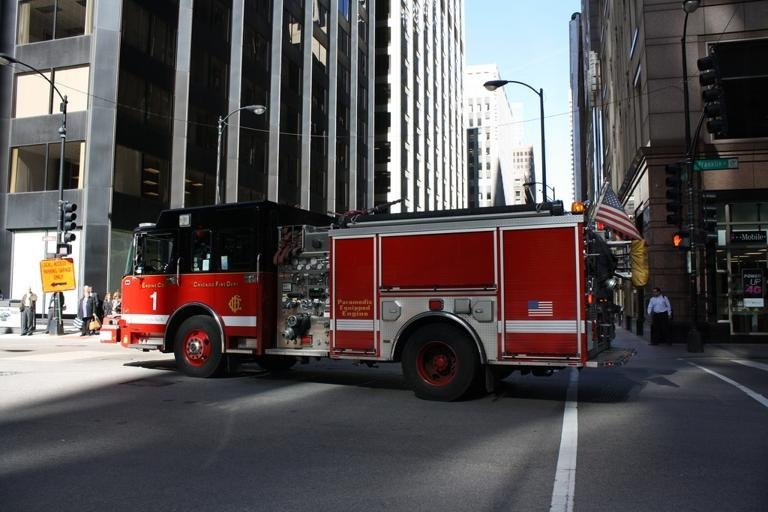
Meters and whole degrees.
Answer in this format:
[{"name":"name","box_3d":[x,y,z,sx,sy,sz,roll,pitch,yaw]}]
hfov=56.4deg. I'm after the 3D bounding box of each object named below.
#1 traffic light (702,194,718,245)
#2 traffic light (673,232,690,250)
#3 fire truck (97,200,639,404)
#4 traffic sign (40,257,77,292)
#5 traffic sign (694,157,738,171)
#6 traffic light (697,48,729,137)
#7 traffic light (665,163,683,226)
[{"name":"traffic light","box_3d":[11.291,-1.316,24.970,0.525,1.861,1.153,4,9,27]},{"name":"traffic light","box_3d":[10.681,-0.528,25.881,0.535,0.498,1.006,4,9,22]},{"name":"fire truck","box_3d":[-0.769,1.151,19.603,13.135,5.322,5.213,0,-3,16]},{"name":"traffic sign","box_3d":[-14.338,0.809,31.567,1.429,1.666,0.214,1,-10,-22]},{"name":"traffic sign","box_3d":[11.826,-3.312,25.697,1.266,0.387,0.819,-2,9,-13]},{"name":"traffic light","box_3d":[10.231,-5.069,22.528,0.670,2.627,0.657,-8,-1,13]},{"name":"traffic light","box_3d":[10.286,-2.172,25.392,0.570,2.318,0.473,4,-15,3]}]
